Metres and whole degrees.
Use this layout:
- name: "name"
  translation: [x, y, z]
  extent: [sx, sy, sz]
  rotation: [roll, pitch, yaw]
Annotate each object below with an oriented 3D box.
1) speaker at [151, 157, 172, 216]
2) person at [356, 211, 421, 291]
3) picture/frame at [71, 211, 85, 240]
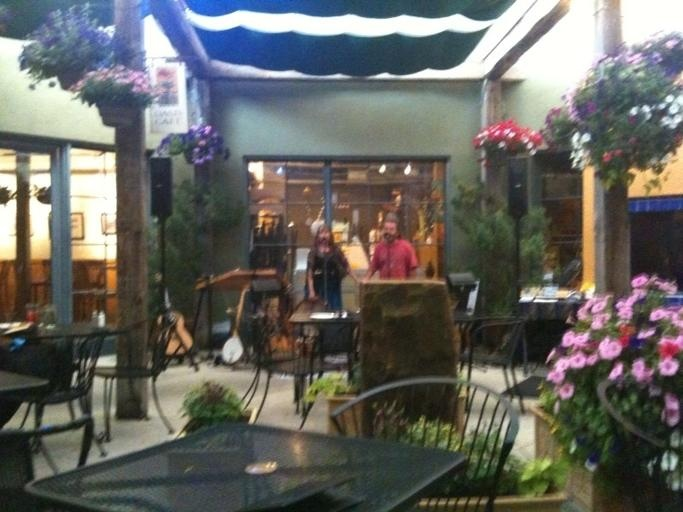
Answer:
- name: "speaker"
  translation: [-1.703, -0.644, 6.257]
  extent: [0.210, 0.565, 0.163]
  rotation: [-4, 8, -20]
- name: "person"
  translation: [0.605, -0.039, 7.693]
  extent: [0.591, 0.861, 0.454]
  rotation: [0, 14, 12]
- name: "picture/frame"
  translation: [-3.071, -0.340, 7.669]
  extent: [0.070, 0.333, 0.197]
  rotation: [6, 11, 44]
